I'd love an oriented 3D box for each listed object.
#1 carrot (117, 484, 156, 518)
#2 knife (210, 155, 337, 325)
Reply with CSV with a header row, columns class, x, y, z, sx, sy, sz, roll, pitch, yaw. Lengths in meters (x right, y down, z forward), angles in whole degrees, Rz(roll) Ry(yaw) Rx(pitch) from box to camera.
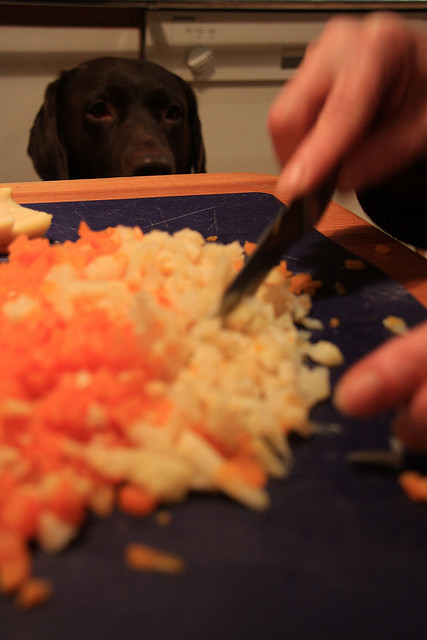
class,x,y,z,sx,sy,sz,roll,pitch,yaw
carrot,-0.062,0.141,0.431,0.031,0.004,0.022,27,49,18
knife,0.058,-0.079,0.525,0.063,0.131,0.179,26,49,16
